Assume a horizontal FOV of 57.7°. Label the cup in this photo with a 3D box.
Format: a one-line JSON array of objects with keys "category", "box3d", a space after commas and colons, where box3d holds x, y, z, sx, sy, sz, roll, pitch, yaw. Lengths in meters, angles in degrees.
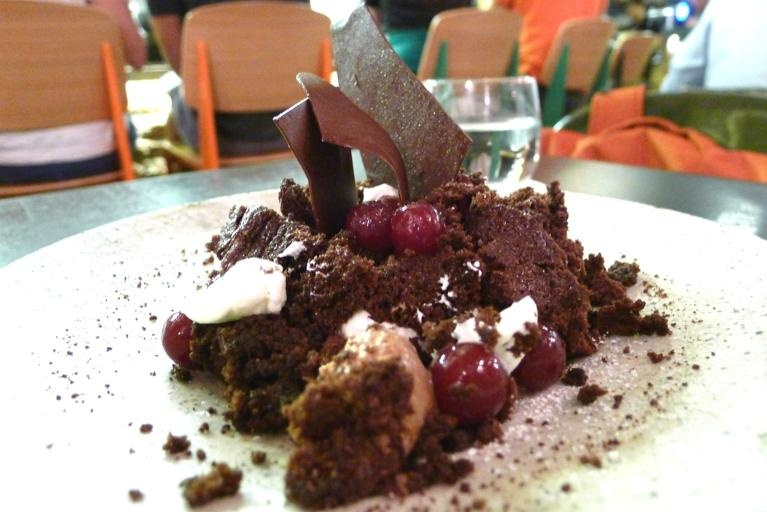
[{"category": "cup", "box3d": [0.346, -0.398, 2.446, 0.392, 0.382, 0.390, -1, 6, 0]}]
